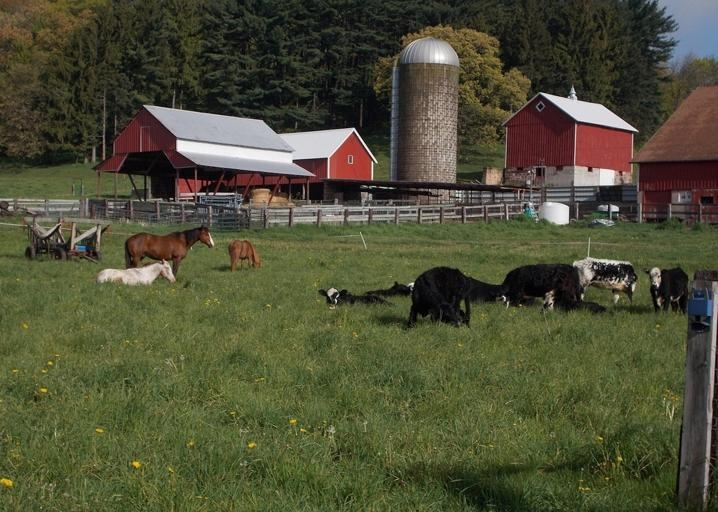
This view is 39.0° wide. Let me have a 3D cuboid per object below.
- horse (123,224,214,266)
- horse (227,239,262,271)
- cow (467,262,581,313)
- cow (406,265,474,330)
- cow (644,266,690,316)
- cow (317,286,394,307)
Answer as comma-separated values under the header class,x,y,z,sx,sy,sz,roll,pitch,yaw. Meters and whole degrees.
class,x,y,z,sx,sy,sz,roll,pitch,yaw
horse,-8.537,-0.291,44.740,3.660,1.605,1.023,-9,16,-29
horse,-5.278,-0.070,46.014,1.578,1.366,0.482,-14,19,-43
cow,6.845,1.133,40.552,4.030,1.801,0.744,5,14,15
cow,2.900,1.801,38.970,2.106,2.702,1.899,0,4,-24
cow,12.367,1.265,40.379,0.849,1.904,2.941,-3,-7,40
cow,-0.298,1.583,40.971,2.639,0.550,1.095,1,16,-1
